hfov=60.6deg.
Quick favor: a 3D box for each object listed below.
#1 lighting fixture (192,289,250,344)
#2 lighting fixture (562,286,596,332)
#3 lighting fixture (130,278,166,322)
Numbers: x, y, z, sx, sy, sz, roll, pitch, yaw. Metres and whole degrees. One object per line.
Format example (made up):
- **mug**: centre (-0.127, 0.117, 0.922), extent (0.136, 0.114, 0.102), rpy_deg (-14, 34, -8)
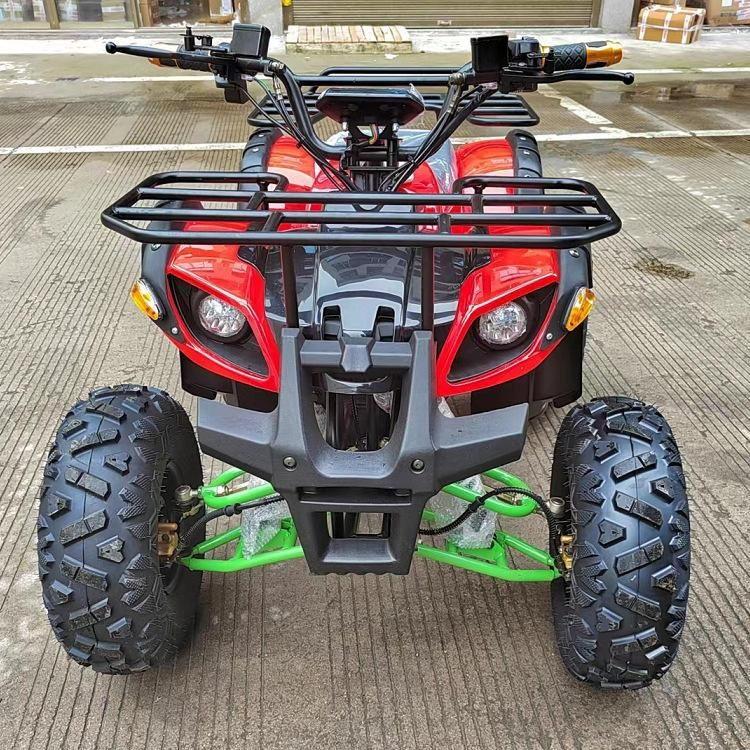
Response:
- **lighting fixture**: centre (-0.481, -0.187, 2.048), extent (0.187, 0.153, 0.053), rpy_deg (8, 18, 25)
- **lighting fixture**: centre (0.611, -0.190, 2.002), extent (0.102, 0.156, 0.043), rpy_deg (-32, 54, -21)
- **lighting fixture**: centre (-0.706, -0.244, 2.099), extent (0.160, 0.094, 0.045), rpy_deg (50, 24, 25)
